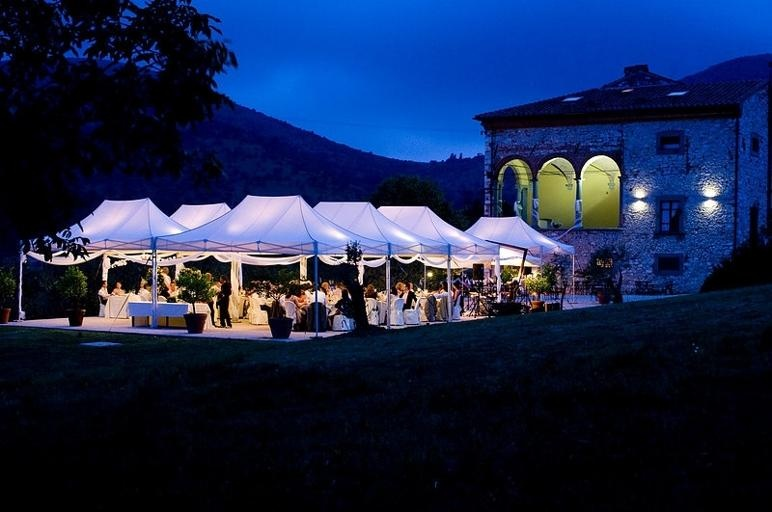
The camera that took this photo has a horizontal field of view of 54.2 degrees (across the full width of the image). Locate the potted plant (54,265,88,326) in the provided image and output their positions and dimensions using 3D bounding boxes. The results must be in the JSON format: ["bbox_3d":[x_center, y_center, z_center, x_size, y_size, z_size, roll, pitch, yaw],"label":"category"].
[{"bbox_3d":[-8.662,1.079,20.874,0.699,1.553,3.079,-7,5,-23],"label":"potted plant"}]

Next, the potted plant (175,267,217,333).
[{"bbox_3d":[-4.648,1.079,18.469,0.848,1.609,1.312,-6,5,-15],"label":"potted plant"}]
